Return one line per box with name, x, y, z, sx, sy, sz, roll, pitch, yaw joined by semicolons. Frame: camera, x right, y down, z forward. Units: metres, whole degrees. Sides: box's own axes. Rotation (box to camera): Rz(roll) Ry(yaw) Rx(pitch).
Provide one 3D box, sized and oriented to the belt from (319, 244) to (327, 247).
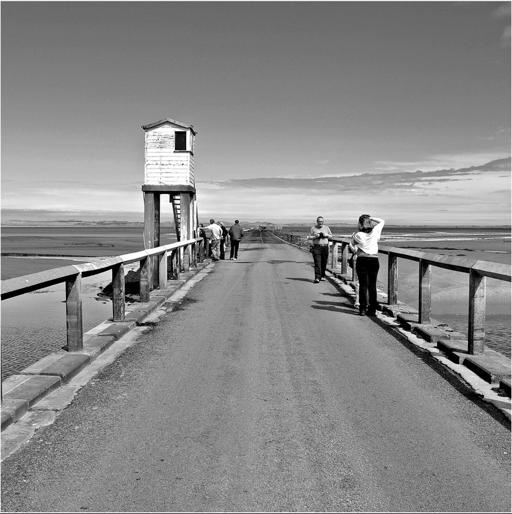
belt;1.862;-0.309;13.682;0.208;0.074;0.070;-3;6;-35
